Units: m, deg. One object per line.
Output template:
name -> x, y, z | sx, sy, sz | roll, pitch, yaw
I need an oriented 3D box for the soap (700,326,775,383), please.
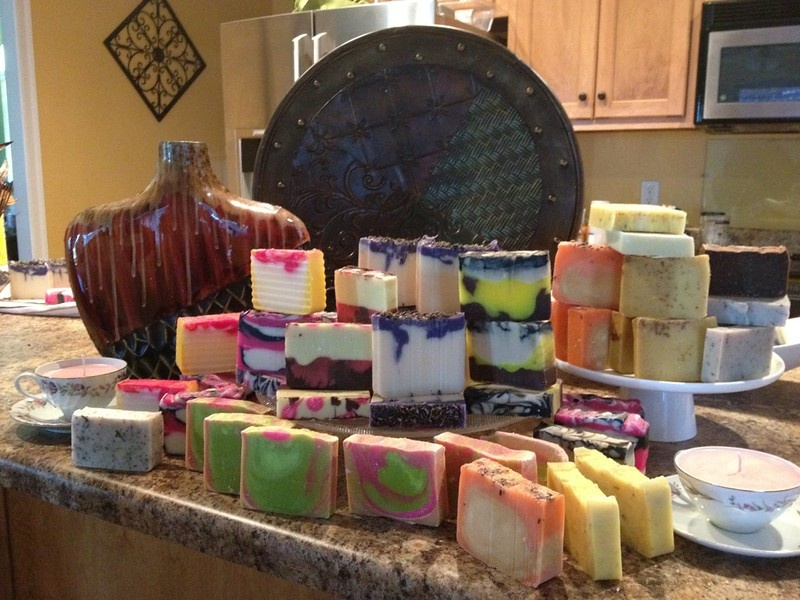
soap -> 0.533, 0.083, 1.120 | 0.129, 0.084, 0.043 | -4, 9, -29

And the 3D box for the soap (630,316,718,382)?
soap -> 0.440, 0.074, 1.142 | 0.133, 0.099, 0.071 | -3, 5, -14

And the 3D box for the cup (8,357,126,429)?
cup -> -0.508, 0.150, 1.153 | 0.197, 0.091, 0.198 | -1, 9, 0

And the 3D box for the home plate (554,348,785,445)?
home plate -> 0.431, 0.175, 1.145 | 0.276, 0.089, 0.278 | 10, -15, -35

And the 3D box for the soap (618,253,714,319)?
soap -> 0.421, -0.021, 1.126 | 0.107, 0.088, 0.112 | 1, 3, 8

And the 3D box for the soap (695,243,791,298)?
soap -> 0.597, -0.047, 1.234 | 0.125, 0.083, 0.069 | 3, 0, 19

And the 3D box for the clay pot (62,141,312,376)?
clay pot -> -0.364, -0.059, 1.269 | 0.390, 0.400, 0.163 | -6, -4, -8

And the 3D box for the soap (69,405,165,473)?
soap -> -0.406, 0.198, 1.032 | 0.116, 0.081, 0.068 | 3, 10, -2

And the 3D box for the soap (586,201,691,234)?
soap -> 0.399, -0.138, 1.205 | 0.154, 0.052, 0.091 | 1, 9, 22
